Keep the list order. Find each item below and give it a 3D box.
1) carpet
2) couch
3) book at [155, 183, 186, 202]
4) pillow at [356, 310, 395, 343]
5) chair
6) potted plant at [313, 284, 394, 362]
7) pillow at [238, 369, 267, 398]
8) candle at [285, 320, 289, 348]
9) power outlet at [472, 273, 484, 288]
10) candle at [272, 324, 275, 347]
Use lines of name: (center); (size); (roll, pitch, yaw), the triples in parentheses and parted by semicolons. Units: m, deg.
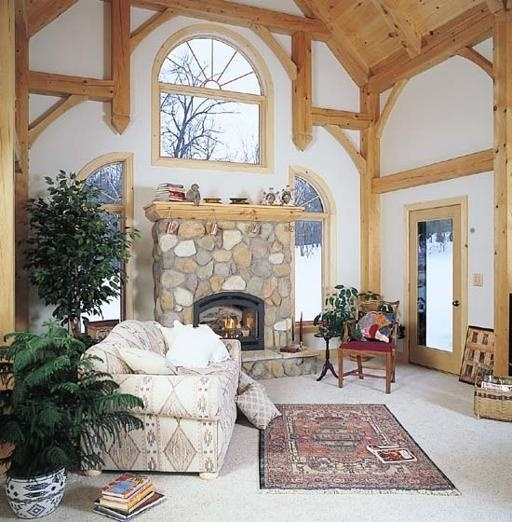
carpet: (0.618, 1.365, 3.538); (1.195, 0.028, 1.521); (0, 0, 0)
couch: (-0.610, 0.954, 3.290); (0.798, 0.824, 1.534); (0, -1, -1)
book: (-0.951, -0.748, 5.336); (0.313, 0.207, 0.228); (-2, 0, -43)
pillow: (1.331, 0.730, 5.267); (0.335, 0.297, 0.120); (0, -19, 36)
chair: (1.324, 1.018, 5.558); (0.844, 1.414, 0.925); (-2, -5, 27)
potted plant: (1.275, 0.646, 5.989); (0.767, 1.194, 0.926); (1, -15, 31)
pillow: (-0.070, 1.123, 4.214); (0.230, 0.067, 0.230); (38, 11, -4)
candle: (0.395, 0.895, 5.998); (0.044, 0.316, 0.088); (1, 1, 16)
power outlet: (2.435, 0.216, 5.238); (0.009, 0.156, 0.151); (0, 1, -20)
candle: (0.223, 0.950, 5.932); (0.050, 0.266, 0.024); (0, 1, -11)
